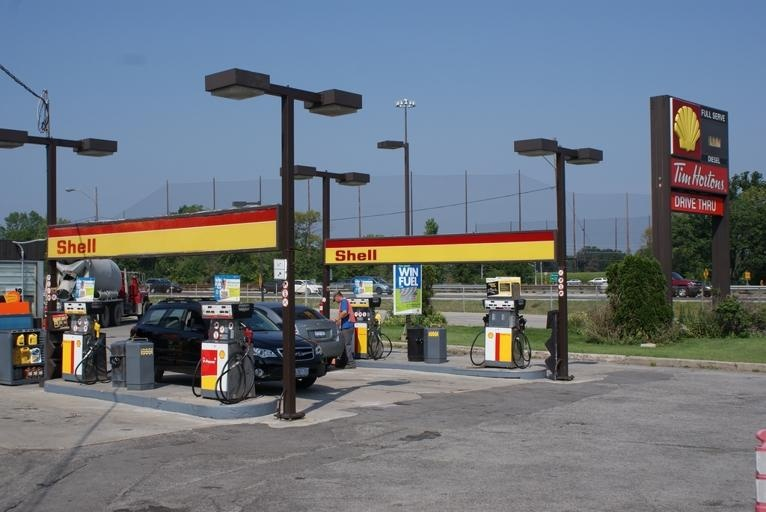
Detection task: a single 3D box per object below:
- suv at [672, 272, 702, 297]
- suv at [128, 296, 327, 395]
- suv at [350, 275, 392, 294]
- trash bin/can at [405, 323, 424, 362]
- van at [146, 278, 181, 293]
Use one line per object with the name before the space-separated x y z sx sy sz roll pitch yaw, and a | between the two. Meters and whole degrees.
suv | 20.868 2.032 60.230 1.548 1.516 3.213 2 -6 -42
suv | -4.015 2.298 22.235 4.833 1.921 2.273 -5 -6 32
suv | -0.899 2.351 73.958 3.485 1.643 1.873 -1 2 -8
trash bin/can | 1.007 2.766 27.489 0.795 1.326 0.890 0 -2 -4
van | -20.125 2.879 82.090 4.147 1.777 2.094 -1 -1 8
